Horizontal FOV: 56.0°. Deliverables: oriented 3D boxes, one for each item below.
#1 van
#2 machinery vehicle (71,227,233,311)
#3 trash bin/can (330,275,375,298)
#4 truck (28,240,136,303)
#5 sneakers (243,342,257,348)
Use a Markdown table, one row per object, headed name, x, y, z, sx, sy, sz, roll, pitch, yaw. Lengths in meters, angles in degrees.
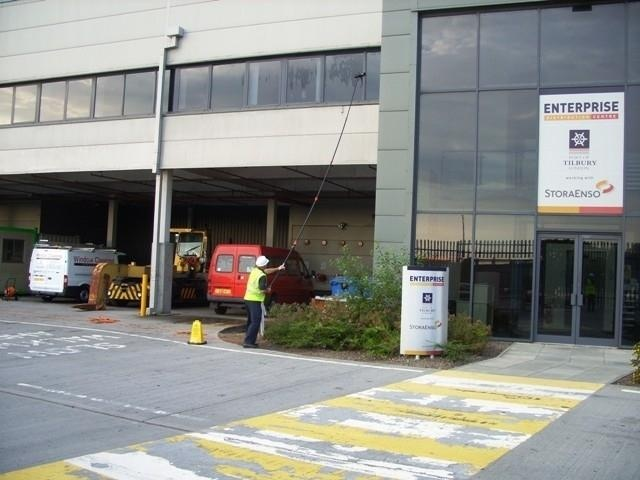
| name | x | y | z | sx | sy | sz | roll | pitch | yaw |
| --- | --- | --- | --- | --- | --- | --- | --- | --- | --- |
| van | -2.061 | 1.272 | 21.835 | 2.092 | 1.907 | 3.655 | -1 | -2 | 31 |
| machinery vehicle | -5.999 | 1.052 | 25.204 | 2.237 | 2.300 | 3.463 | 10 | 7 | 26 |
| trash bin/can | 0.850 | 1.168 | 15.250 | 0.629 | 0.424 | 0.843 | 2 | -3 | -43 |
| truck | -9.577 | 1.200 | 24.463 | 1.829 | 1.651 | 3.199 | 0 | 0 | 30 |
| sneakers | -1.518 | 2.296 | 13.259 | 0.315 | 0.136 | 0.115 | 1 | -1 | -27 |
